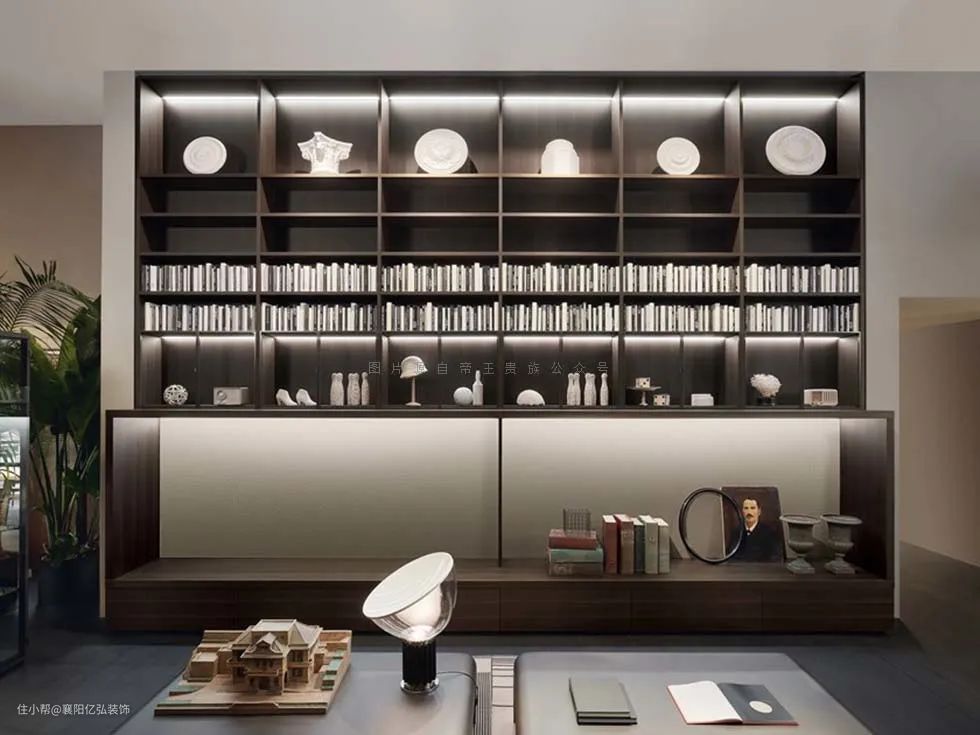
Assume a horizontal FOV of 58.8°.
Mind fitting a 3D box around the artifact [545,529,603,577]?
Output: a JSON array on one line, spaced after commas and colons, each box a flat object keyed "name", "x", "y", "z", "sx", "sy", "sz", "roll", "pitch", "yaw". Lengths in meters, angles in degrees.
[{"name": "artifact", "x": 0.632, "y": 1.364, "z": 6.426, "sx": 0.296, "sy": 0.217, "sz": 0.321, "roll": 0, "pitch": -4, "yaw": -1}]

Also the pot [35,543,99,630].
[{"name": "pot", "x": -3.268, "y": 1.740, "z": 6.848, "sx": 0.447, "sy": 0.494, "sz": 0.359, "roll": 3, "pitch": 9, "yaw": -12}]

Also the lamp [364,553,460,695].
[{"name": "lamp", "x": -0.436, "y": 1.488, "z": 4.923, "sx": 0.499, "sy": 0.669, "sz": 0.549, "roll": 2, "pitch": -12, "yaw": -40}]

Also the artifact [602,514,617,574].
[{"name": "artifact", "x": 0.888, "y": 1.322, "z": 6.439, "sx": 0.108, "sy": 0.328, "sz": 0.329, "roll": -1, "pitch": -7, "yaw": 2}]

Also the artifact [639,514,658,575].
[{"name": "artifact", "x": 1.171, "y": 1.322, "z": 6.414, "sx": 0.113, "sy": 0.349, "sz": 0.341, "roll": 0, "pitch": -3, "yaw": 0}]

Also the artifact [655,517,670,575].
[{"name": "artifact", "x": 1.278, "y": 1.331, "z": 6.429, "sx": 0.113, "sy": 0.347, "sz": 0.346, "roll": 0, "pitch": -3, "yaw": 1}]
